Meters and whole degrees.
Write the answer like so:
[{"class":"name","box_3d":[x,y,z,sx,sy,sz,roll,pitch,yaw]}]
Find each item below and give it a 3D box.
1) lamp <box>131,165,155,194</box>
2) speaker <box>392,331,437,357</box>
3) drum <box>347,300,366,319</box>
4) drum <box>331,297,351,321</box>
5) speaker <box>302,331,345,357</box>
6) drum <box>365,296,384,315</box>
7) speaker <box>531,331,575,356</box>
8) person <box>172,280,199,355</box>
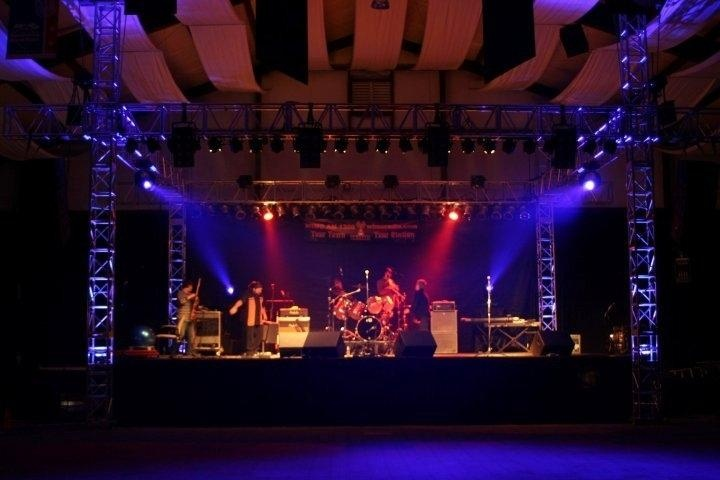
[{"class":"lamp","box_3d":[-5.535,-1.521,24.070,0.430,0.560,0.487,9,54,-4]},{"class":"speaker","box_3d":[1.302,2.418,22.063,0.933,1.025,0.678,0,80,2]},{"class":"drum","box_3d":[-0.082,1.935,26.166,0.452,0.474,0.443,16,55,17]},{"class":"drum","box_3d":[-0.512,1.945,26.597,0.637,0.597,0.636,3,76,-9]},{"class":"speaker","box_3d":[-0.872,2.432,21.801,0.852,0.531,0.625,0,80,2]},{"class":"drum","box_3d":[0.421,1.795,26.060,0.462,0.464,0.339,3,22,7]},{"class":"speaker","box_3d":[4.500,2.477,22.105,0.680,0.666,0.455,1,82,0]},{"class":"person","box_3d":[-4.625,2.031,24.647,0.683,2.532,0.307,-1,29,-4]}]
